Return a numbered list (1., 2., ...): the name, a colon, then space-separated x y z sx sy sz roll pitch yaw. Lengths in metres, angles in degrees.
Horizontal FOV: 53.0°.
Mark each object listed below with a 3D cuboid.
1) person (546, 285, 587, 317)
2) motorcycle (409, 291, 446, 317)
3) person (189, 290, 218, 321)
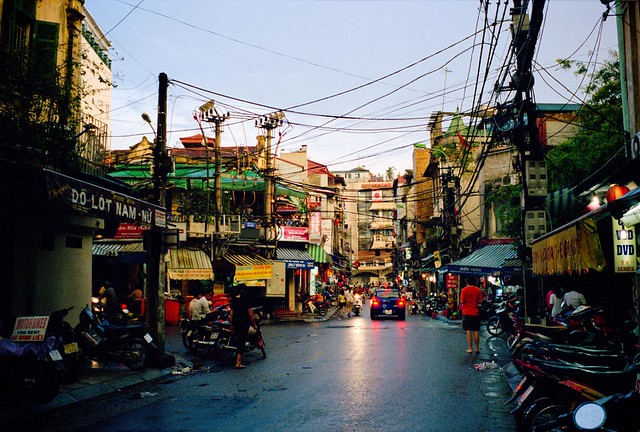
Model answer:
1. person: 7.786 2.679 20.620 0.967 1.114 1.931 3 -4 3
2. motorcycle: 6.791 5.669 40.457 1.535 1.512 2.484 3 -1 37
3. person: -3.962 3.021 21.203 0.735 0.965 0.996 -1 2 -43
